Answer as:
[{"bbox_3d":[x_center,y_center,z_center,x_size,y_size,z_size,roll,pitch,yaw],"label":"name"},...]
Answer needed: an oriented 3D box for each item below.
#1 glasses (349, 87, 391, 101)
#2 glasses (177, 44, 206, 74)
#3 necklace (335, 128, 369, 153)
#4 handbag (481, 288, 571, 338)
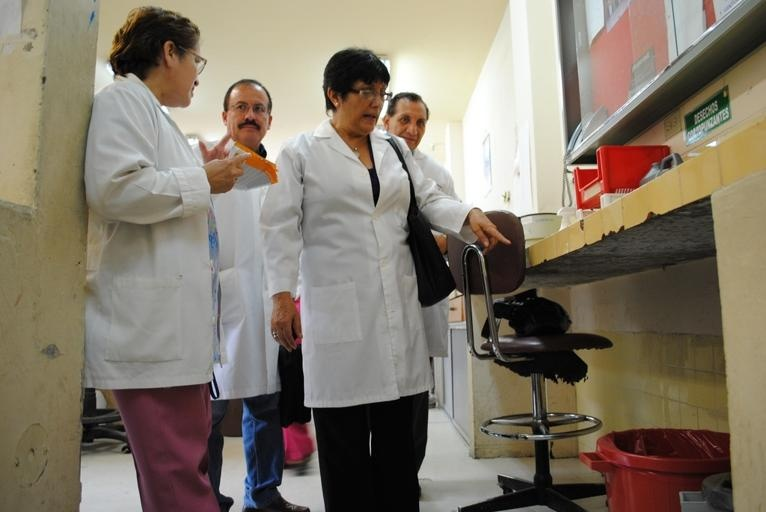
[{"bbox_3d":[-0.054,-0.579,2.191,0.079,0.021,0.079,8,8,39],"label":"glasses"},{"bbox_3d":[-0.624,-0.649,2.004,0.070,0.021,0.069,11,2,8],"label":"glasses"},{"bbox_3d":[-0.114,-0.421,2.280,0.091,0.087,0.109,-4,3,-31],"label":"necklace"},{"bbox_3d":[0.590,0.251,2.580,0.319,0.135,0.199,-15,-4,33],"label":"handbag"}]
